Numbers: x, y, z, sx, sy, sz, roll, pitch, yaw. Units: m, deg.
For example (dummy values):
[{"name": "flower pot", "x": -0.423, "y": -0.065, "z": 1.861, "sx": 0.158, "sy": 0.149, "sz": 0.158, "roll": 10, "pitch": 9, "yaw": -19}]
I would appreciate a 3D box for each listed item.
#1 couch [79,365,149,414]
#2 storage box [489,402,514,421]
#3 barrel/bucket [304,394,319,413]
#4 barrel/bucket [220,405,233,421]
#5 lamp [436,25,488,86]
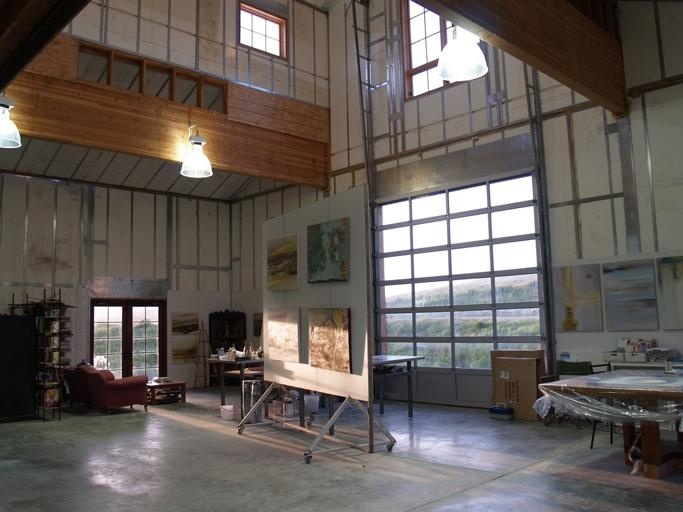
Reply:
[{"name": "couch", "x": -4.663, "y": 3.078, "z": 11.150, "sx": 0.813, "sy": 0.977, "sz": 1.416, "roll": 0, "pitch": -4, "yaw": -41}, {"name": "storage box", "x": 2.897, "y": 2.825, "z": 9.780, "sx": 0.411, "sy": 0.223, "sz": 0.333, "roll": -5, "pitch": -5, "yaw": 42}, {"name": "barrel/bucket", "x": -0.556, "y": 2.869, "z": 10.460, "sx": 0.287, "sy": 0.288, "sz": 0.293, "roll": -2, "pitch": -8, "yaw": 0}, {"name": "barrel/bucket", "x": -2.116, "y": 2.973, "z": 10.224, "sx": 0.252, "sy": 0.238, "sz": 0.248, "roll": -2, "pitch": -9, "yaw": 0}, {"name": "lamp", "x": 1.702, "y": -2.775, "z": 7.475, "sx": 0.792, "sy": 0.888, "sz": 0.813, "roll": 0, "pitch": 3, "yaw": 20}]
